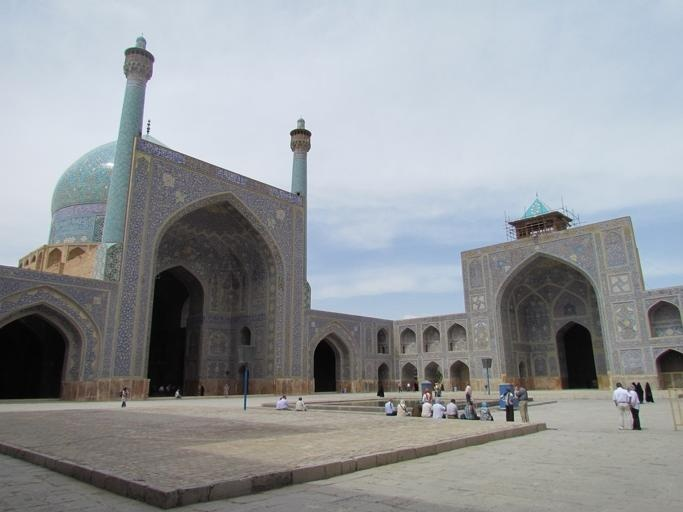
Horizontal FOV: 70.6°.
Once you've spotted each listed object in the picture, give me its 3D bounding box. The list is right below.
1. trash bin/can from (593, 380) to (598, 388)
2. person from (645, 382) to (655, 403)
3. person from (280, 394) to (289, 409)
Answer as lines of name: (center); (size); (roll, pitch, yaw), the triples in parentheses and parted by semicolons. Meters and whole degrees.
trash bin/can: (11.499, 5.786, 21.885); (0.165, 0.322, 0.363); (-2, -13, 11)
person: (7.812, 3.496, 12.253); (0.159, 0.465, 0.739); (-7, -15, 30)
person: (-1.213, 3.093, 10.096); (0.174, 0.228, 0.704); (2, -13, -7)
